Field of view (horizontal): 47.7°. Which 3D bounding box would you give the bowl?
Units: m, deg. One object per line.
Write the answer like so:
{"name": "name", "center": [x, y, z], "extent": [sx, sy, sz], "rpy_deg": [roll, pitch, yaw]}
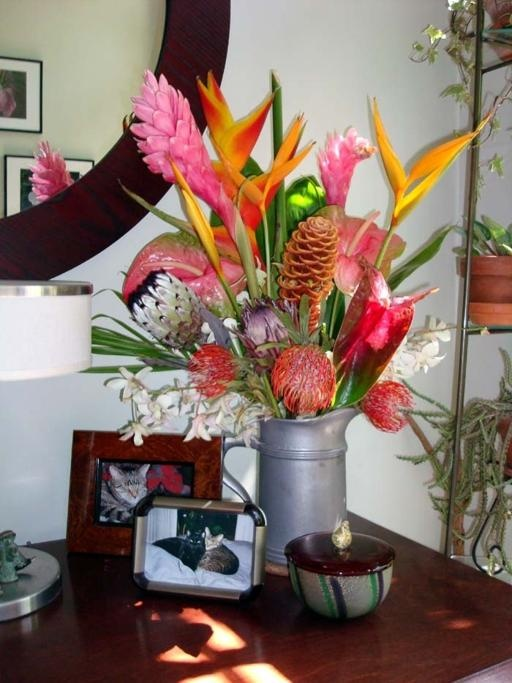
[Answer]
{"name": "bowl", "center": [0.083, 0.229, 0.559], "extent": [0.112, 0.056, 0.105], "rpy_deg": [-3, 0, 0]}

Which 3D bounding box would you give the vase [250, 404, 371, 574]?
{"name": "vase", "center": [0.055, 0.153, 0.699], "extent": [0.214, 0.206, 0.163], "rpy_deg": [0, -1, -6]}

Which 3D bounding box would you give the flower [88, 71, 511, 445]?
{"name": "flower", "center": [0.035, -0.098, 0.681], "extent": [0.443, 0.462, 0.313], "rpy_deg": [1, 2, -14]}
